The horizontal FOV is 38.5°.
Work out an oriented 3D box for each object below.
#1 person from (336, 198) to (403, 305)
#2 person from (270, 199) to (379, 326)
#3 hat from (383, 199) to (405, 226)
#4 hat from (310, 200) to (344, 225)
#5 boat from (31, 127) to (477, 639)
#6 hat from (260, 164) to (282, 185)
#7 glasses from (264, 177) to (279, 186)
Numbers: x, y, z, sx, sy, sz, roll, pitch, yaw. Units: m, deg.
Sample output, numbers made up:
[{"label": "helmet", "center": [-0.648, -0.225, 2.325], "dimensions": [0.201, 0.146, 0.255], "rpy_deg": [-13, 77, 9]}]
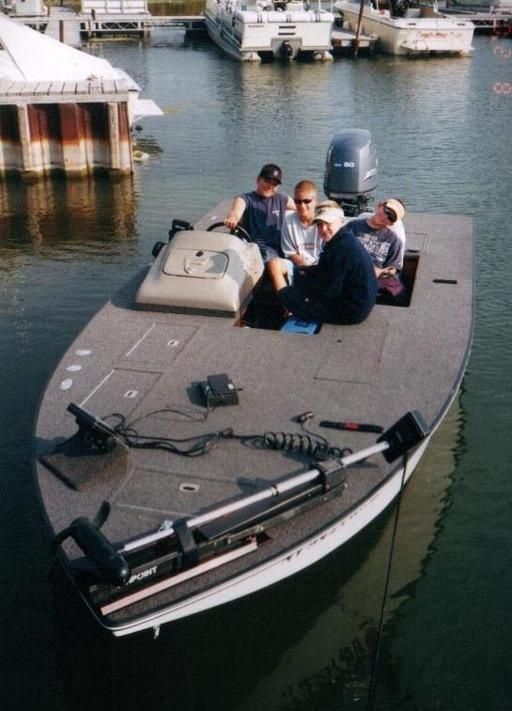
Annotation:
[{"label": "person", "center": [0.946, -0.787, 5.344], "dimensions": [0.523, 0.374, 0.778], "rpy_deg": [25, 32, -2]}, {"label": "person", "center": [0.413, -0.608, 4.817], "dimensions": [0.836, 0.758, 0.614], "rpy_deg": [4, 24, 17]}, {"label": "hat", "center": [1.034, -1.067, 5.396], "dimensions": [0.175, 0.187, 0.171], "rpy_deg": [11, 16, 6]}, {"label": "hat", "center": [0.447, -0.905, 4.604], "dimensions": [0.148, 0.100, 0.196], "rpy_deg": [1, 6, 23]}, {"label": "boat", "center": [0.074, 0.117, 4.094], "dimensions": [1.773, 1.161, 3.402], "rpy_deg": [16, 37, 23]}, {"label": "hat", "center": [0.111, -1.471, 5.962], "dimensions": [0.160, 0.111, 0.206], "rpy_deg": [11, 21, -22]}, {"label": "glasses", "center": [0.135, -1.413, 5.921], "dimensions": [0.088, 0.053, 0.128], "rpy_deg": [18, 12, -9]}]
